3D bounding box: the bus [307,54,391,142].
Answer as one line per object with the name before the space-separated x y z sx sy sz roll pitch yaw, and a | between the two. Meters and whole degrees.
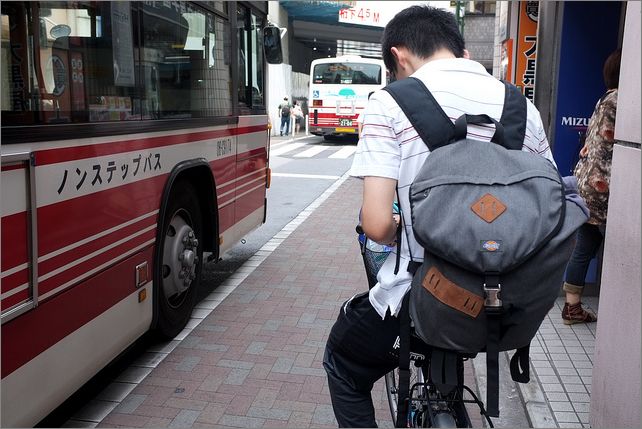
bus | 1.841 -7.464 27.639 4.311 4.112 8.498 2 14 9
